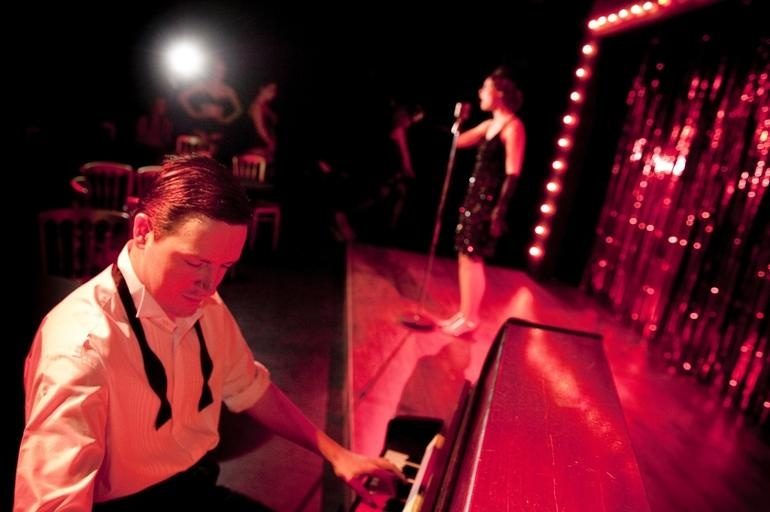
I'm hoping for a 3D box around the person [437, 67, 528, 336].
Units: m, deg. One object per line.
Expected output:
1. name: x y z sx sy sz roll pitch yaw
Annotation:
1. person: 0.623 -0.322 3.969 0.430 1.733 0.213 6 14 -1
